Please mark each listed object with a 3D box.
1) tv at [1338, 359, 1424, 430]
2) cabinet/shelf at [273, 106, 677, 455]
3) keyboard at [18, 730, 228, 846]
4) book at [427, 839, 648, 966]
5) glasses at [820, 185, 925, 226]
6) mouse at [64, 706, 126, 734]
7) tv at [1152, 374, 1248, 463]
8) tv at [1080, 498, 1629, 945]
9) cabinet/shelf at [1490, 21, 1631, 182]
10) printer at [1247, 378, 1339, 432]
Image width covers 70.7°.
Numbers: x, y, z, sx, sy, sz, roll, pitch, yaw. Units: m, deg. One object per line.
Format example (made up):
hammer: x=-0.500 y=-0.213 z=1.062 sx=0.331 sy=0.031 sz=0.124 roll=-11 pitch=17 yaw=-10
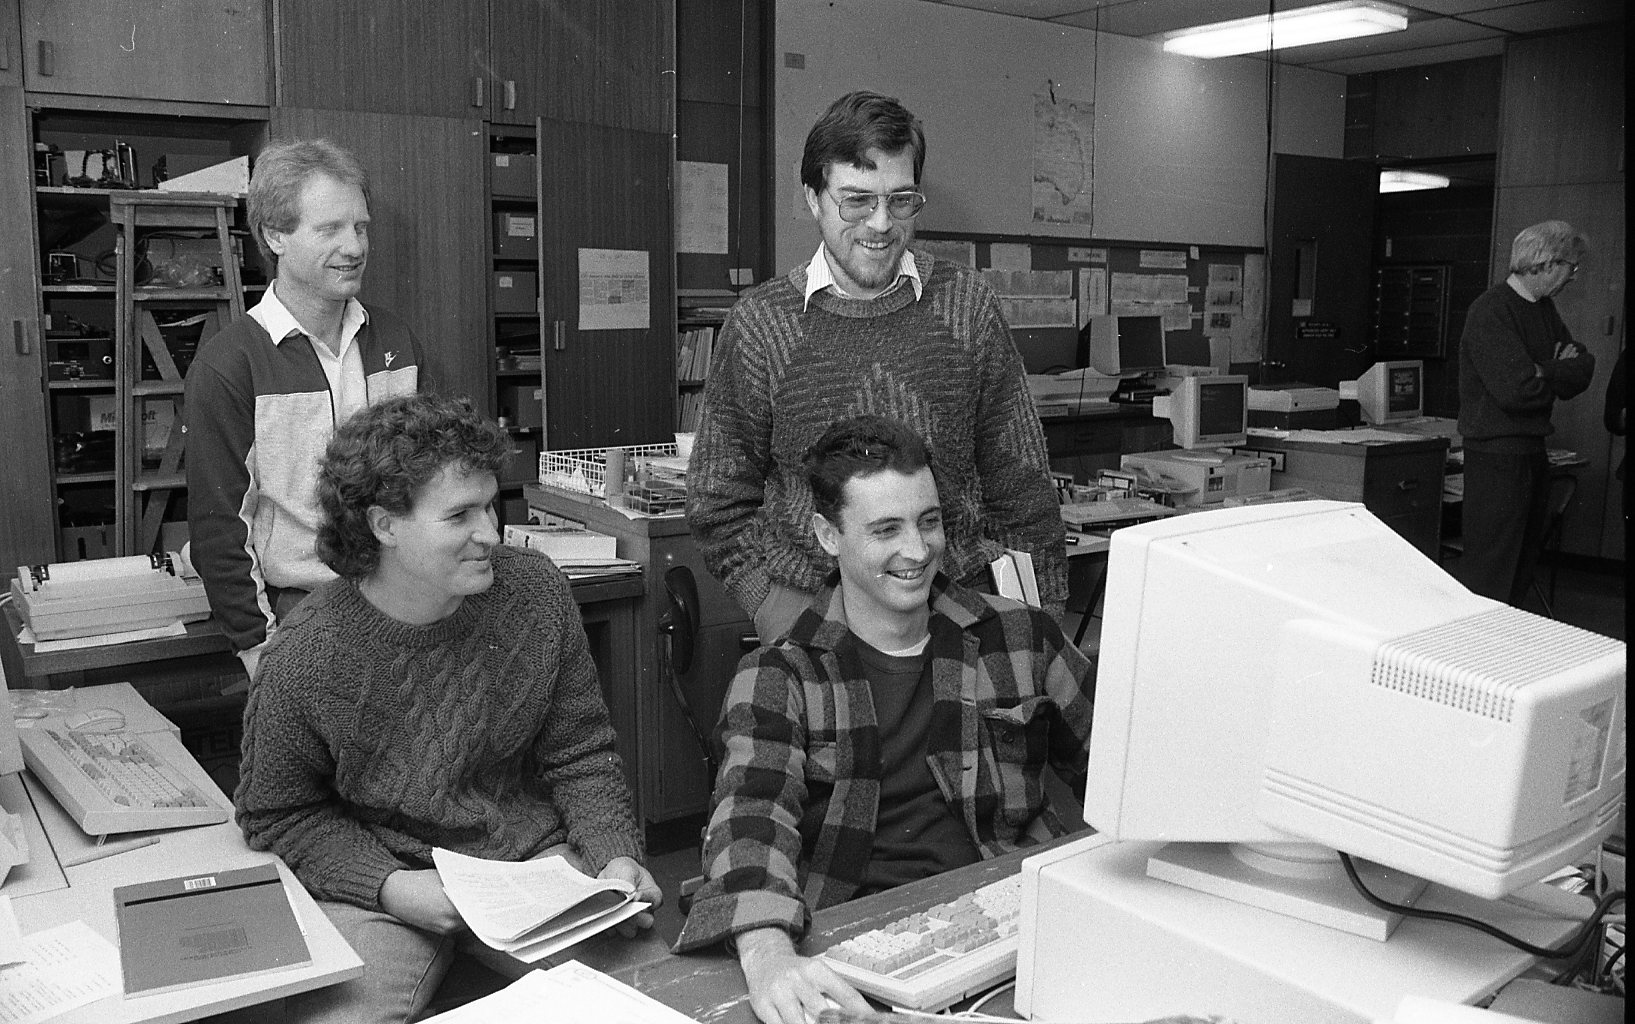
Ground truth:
tv: x=2.839 y=-0.618 z=5.879 sx=0.305 sy=0.274 sz=0.354 roll=-5 pitch=7 yaw=-21
cabinet/shelf: x=-1.501 y=-1.004 z=5.599 sx=1.838 sy=1.821 sz=0.646 roll=-1 pitch=2 yaw=11
keyboard: x=-1.466 y=0.555 z=2.430 sx=0.464 sy=0.088 sz=0.301 roll=17 pitch=8 yaw=38
book: x=-0.499 y=0.679 z=2.009 sx=0.257 sy=0.095 sz=0.273 roll=-3 pitch=4 yaw=-41
glasses: x=0.124 y=-0.648 z=2.426 sx=0.205 sy=0.071 sz=0.095 roll=-7 pitch=14 yaw=-10
mouse: x=-1.627 y=0.473 z=2.602 sx=0.129 sy=0.028 sz=0.094 roll=-7 pitch=14 yaw=-11
tv: x=1.832 y=-0.479 z=5.593 sx=0.411 sy=0.362 sz=0.292 roll=-6 pitch=10 yaw=-34
tv: x=0.726 y=0.195 z=1.668 sx=0.557 sy=0.472 sz=0.606 roll=-9 pitch=13 yaw=-42
cabinet/shelf: x=2.792 y=-1.544 z=4.377 sx=0.369 sy=0.589 sz=0.623 roll=4 pitch=16 yaw=30
printer: x=2.453 y=-0.549 z=5.990 sx=0.365 sy=0.236 sz=0.263 roll=-7 pitch=8 yaw=-35
